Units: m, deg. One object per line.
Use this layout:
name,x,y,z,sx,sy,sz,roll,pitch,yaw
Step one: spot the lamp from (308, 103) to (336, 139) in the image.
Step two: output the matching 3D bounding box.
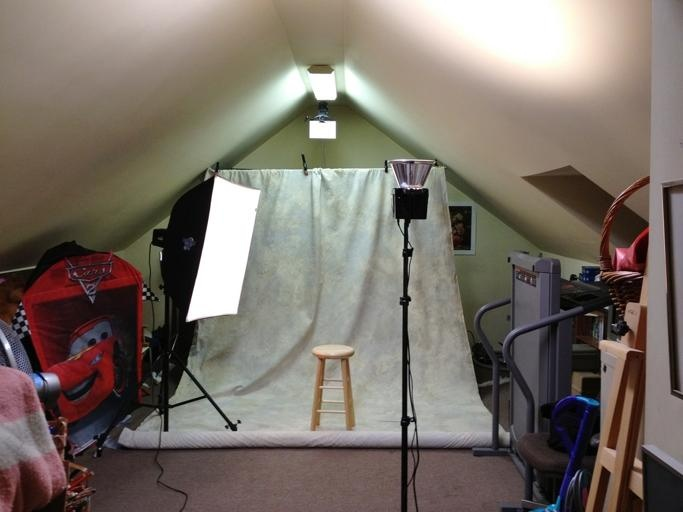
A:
lamp,-0.171,-1.220,5.193,0.242,0.397,0.211,2,28,1
